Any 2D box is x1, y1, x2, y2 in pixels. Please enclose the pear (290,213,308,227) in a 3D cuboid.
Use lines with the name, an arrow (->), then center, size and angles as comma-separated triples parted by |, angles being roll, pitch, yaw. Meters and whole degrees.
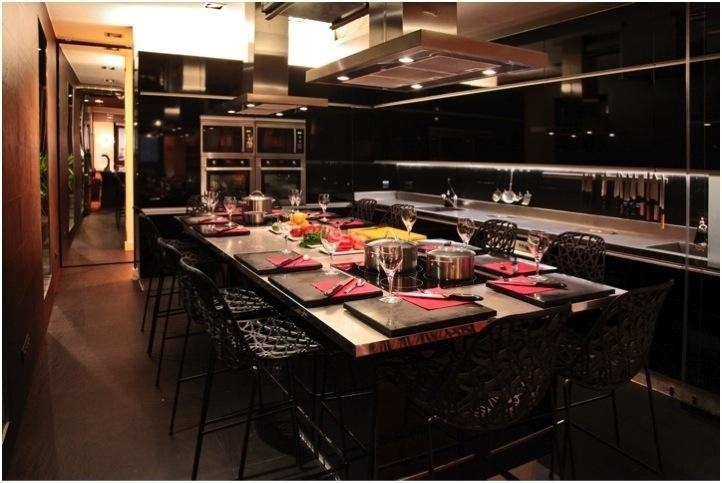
pear -> -0.580, -0.197, 4.468 | 0.133, 0.125, 0.123 | 8, 41, 27

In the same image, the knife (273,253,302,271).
knife -> -0.493, 0.143, 3.243 | 0.056, 0.014, 0.294 | 2, 10, 16

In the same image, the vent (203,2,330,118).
vent -> -0.964, -1.898, 5.715 | 1.426, 1.453, 0.916 | 0, 0, -33

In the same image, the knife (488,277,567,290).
knife -> 0.995, 0.250, 2.952 | 0.446, 0.031, 0.194 | 0, 10, -3

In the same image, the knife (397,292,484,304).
knife -> 0.439, 0.311, 2.737 | 0.463, 0.042, 0.092 | 2, 10, 13

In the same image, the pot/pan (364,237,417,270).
pot/pan -> 0.224, 0.065, 3.072 | 0.265, 0.165, 0.234 | -1, 2, -29

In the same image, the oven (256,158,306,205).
oven -> -1.095, -0.868, 7.059 | 0.720, 0.665, 0.501 | 1, 0, 10

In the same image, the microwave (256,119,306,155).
microwave -> -1.142, -1.482, 6.796 | 0.785, 0.492, 0.456 | -2, 12, -19

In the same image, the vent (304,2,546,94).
vent -> 0.481, -1.593, 3.735 | 1.076, 0.627, 1.449 | -7, 13, -36

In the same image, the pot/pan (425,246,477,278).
pot/pan -> 0.569, 0.123, 3.049 | 0.227, 0.135, 0.214 | -2, 4, -30

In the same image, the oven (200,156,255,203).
oven -> -1.946, -0.890, 6.730 | 0.705, 0.596, 0.466 | -7, 18, -39

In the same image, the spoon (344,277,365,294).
spoon -> -0.039, 0.263, 2.850 | 0.048, 0.025, 0.174 | 12, 11, 12
